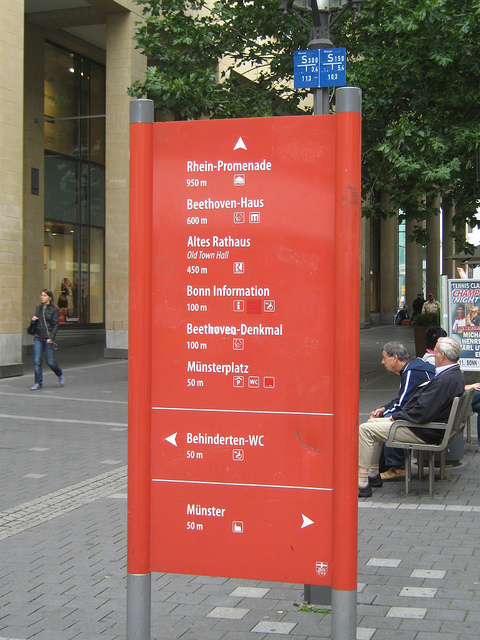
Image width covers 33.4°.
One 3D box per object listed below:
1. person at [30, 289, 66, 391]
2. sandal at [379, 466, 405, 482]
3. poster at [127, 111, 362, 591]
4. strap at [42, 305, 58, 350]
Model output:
[{"bbox_3d":[-3.309,0.311,13.623,0.541,1.684,0.842,-2,3,-13],"label":"person"},{"bbox_3d":[1.393,1.392,7.226,0.276,0.116,0.093,2,-6,-9],"label":"sandal"},{"bbox_3d":[-0.005,0.101,2.970,0.908,1.730,0.192,-1,3,17],"label":"poster"},{"bbox_3d":[-3.237,0.108,13.479,0.034,0.621,0.089,-14,-5,-44],"label":"strap"}]
